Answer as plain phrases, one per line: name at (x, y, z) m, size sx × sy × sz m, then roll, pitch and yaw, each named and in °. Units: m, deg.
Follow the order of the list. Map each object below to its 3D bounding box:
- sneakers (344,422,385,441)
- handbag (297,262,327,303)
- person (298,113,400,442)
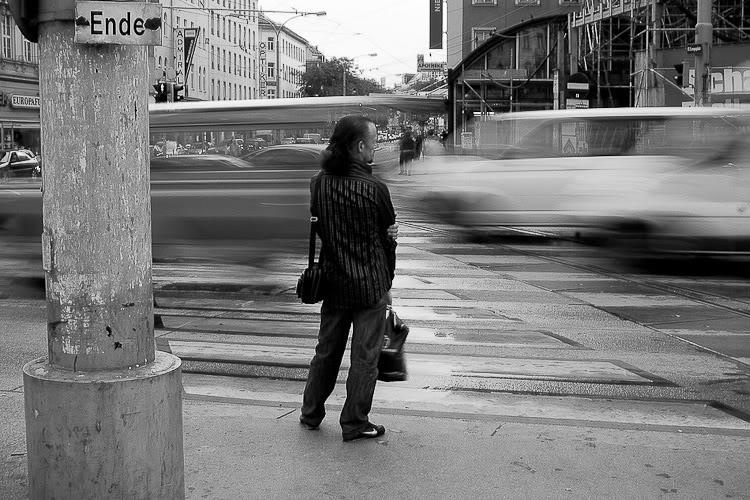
sneakers at (-0.074, 1.378, 6.491) m, size 0.327 × 0.129 × 0.118 m, roll -4°, pitch 5°, yaw -22°
handbag at (-0.467, 0.281, 6.443) m, size 0.195 × 0.260 × 0.266 m, roll 3°, pitch -11°, yaw 23°
person at (-0.200, 0.210, 6.429) m, size 0.721 × 2.397 × 0.483 m, roll 0°, pitch 9°, yaw -4°
